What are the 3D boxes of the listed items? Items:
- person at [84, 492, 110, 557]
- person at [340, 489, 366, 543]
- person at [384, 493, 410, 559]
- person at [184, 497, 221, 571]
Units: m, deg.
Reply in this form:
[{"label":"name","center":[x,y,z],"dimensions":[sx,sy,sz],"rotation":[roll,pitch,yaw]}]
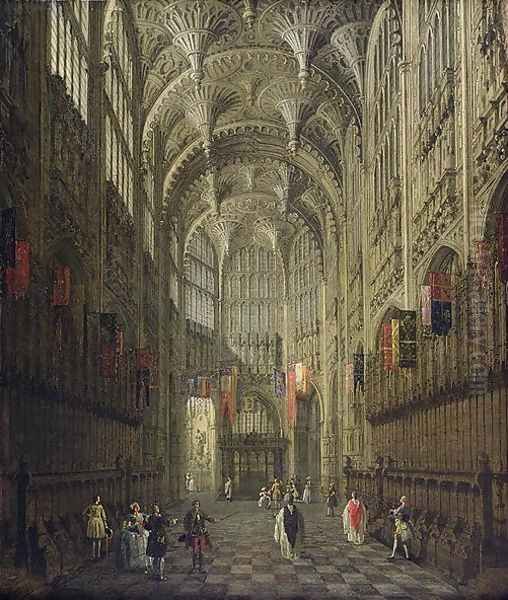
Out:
[{"label":"person","center":[-3.252,4.644,21.123],"dimensions":[0.449,1.313,1.346],"rotation":[2,-16,-8]},{"label":"person","center":[2.421,5.153,24.421],"dimensions":[0.547,1.534,0.400],"rotation":[-3,24,1]},{"label":"person","center":[3.036,4.729,21.282],"dimensions":[0.473,1.292,1.465],"rotation":[-1,-17,5]},{"label":"person","center":[-1.004,4.444,19.449],"dimensions":[0.582,1.503,0.391],"rotation":[4,14,13]}]
